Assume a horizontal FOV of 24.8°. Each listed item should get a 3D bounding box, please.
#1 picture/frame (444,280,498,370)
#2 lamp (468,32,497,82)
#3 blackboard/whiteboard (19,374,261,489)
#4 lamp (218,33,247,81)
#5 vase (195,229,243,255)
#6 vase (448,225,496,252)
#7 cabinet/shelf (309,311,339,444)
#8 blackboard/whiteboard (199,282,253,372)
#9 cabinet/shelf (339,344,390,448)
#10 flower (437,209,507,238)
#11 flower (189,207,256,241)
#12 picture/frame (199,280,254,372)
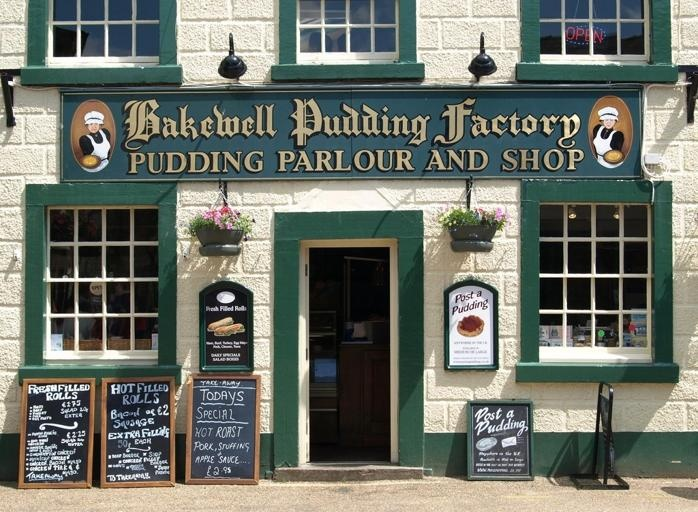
[{"bbox_3d":[1.454,0.841,19.572,0.638,1.111,0.395,0,0,-2],"label":"picture/frame"},{"bbox_3d":[1.592,-2.467,19.328,0.348,0.617,0.384,-1,-4,4],"label":"lamp"},{"bbox_3d":[-2.532,2.111,19.210,2.878,1.344,0.238,-1,-4,1],"label":"blackboard/whiteboard"},{"bbox_3d":[-1.435,-2.442,19.343,0.350,0.531,0.395,-1,-4,-4],"label":"lamp"},{"bbox_3d":[-1.612,-0.161,19.248,0.501,0.215,0.314,1,-11,-4],"label":"vase"},{"bbox_3d":[1.472,-0.225,19.188,0.505,0.226,0.318,1,-5,2],"label":"vase"},{"bbox_3d":[-0.350,1.577,20.937,0.371,1.755,0.640,-1,-4,-1],"label":"cabinet/shelf"},{"bbox_3d":[-1.510,0.858,19.372,0.620,1.103,0.135,-2,-4,8],"label":"blackboard/whiteboard"},{"bbox_3d":[0.172,1.785,20.386,0.626,1.332,0.192,0,-4,-6],"label":"cabinet/shelf"},{"bbox_3d":[1.482,-0.379,19.466,0.770,0.327,0.537,4,-2,1],"label":"flower"},{"bbox_3d":[-1.552,-0.417,19.322,0.795,0.417,0.342,0,-4,-6],"label":"flower"},{"bbox_3d":[-1.492,0.868,19.589,0.623,1.123,0.452,2,-2,3],"label":"picture/frame"}]
